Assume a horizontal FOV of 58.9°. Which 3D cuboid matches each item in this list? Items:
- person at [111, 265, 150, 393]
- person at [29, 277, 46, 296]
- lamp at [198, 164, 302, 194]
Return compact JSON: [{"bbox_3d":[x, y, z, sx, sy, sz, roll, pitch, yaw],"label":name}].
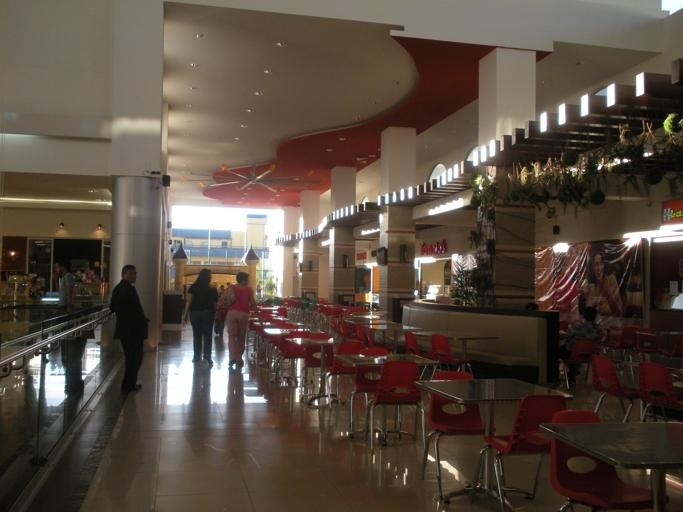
[{"bbox_3d":[-3.054,1.064,8.751,0.504,1.854,0.478,0,2,-22],"label":"person"},{"bbox_3d":[-8.068,0.792,16.135,0.379,0.765,0.401,2,5,-15],"label":"person"},{"bbox_3d":[-3.461,-3.021,23.756,2.643,1.025,5.144,0,2,-19],"label":"lamp"}]
